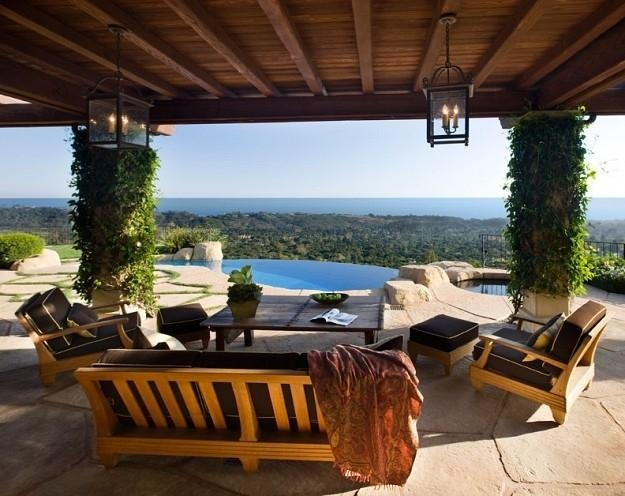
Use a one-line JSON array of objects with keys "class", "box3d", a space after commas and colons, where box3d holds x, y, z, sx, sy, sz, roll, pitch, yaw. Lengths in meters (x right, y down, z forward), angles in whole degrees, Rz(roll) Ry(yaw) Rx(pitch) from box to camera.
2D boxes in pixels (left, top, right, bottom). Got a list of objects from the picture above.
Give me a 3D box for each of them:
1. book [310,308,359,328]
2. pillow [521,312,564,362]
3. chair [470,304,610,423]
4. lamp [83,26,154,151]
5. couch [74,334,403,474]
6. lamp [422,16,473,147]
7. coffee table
[{"class": "book", "box3d": [0.260, 0.752, 4.879, 0.467, 0.048, 0.526, 3, 10, 20]}, {"class": "pillow", "box3d": [2.170, 0.826, 4.104, 0.388, 0.408, 0.456, 5, 5, 32]}, {"class": "chair", "box3d": [2.078, 0.928, 4.579, 1.324, 1.004, 1.519, 2, 4, 41]}, {"class": "lamp", "box3d": [-2.080, -1.558, 4.593, 0.622, 1.231, 0.568, -1, 5, -5]}, {"class": "couch", "box3d": [-0.416, 1.203, 3.493, 2.428, 0.758, 0.948, -2, 2, 10]}, {"class": "lamp", "box3d": [1.244, -1.453, 4.279, 0.655, 1.299, 0.497, 4, 6, 9]}, {"class": "coffee table", "box3d": [-0.162, 0.905, 5.208, 2.030, 0.306, 1.804, -3, 3, -32]}]
